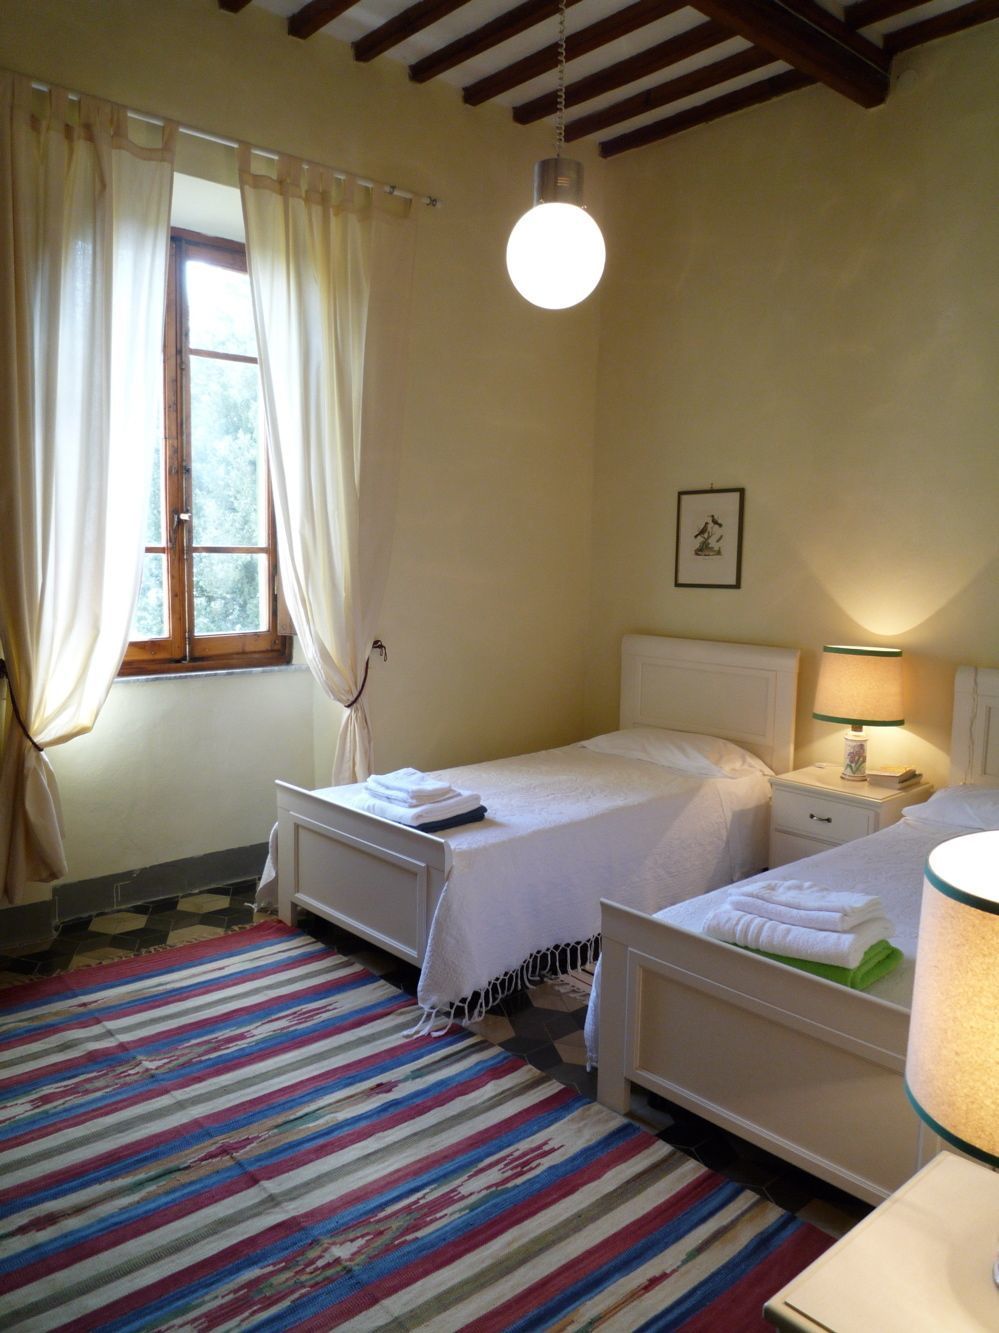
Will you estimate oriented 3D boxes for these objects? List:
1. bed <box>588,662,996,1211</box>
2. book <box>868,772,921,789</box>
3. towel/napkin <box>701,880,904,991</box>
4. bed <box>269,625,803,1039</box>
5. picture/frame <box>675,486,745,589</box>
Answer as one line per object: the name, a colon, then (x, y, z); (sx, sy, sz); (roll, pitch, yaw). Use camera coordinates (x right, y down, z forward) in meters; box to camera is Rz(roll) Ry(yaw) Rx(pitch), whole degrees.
bed: (0.699, 0.575, 2.079); (0.553, 0.549, 0.777); (5, 7, 40)
book: (1.315, 0.377, 3.229); (0.086, 0.033, 0.086); (4, 7, 35)
towel/napkin: (0.570, 0.501, 1.862); (0.341, 0.107, 0.252); (5, 7, 41)
bed: (0.183, 0.436, 3.279); (1.031, 0.953, 1.562); (12, 20, 43)
picture/frame: (0.880, -0.532, 4.006); (0.031, 0.508, 0.383); (-4, 6, -37)
